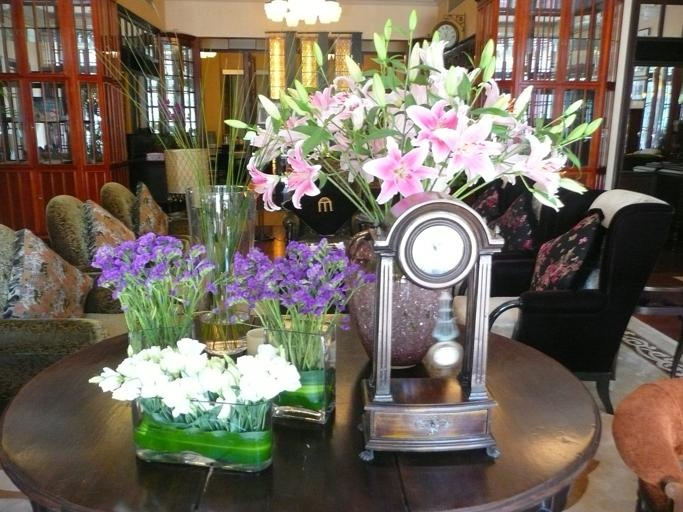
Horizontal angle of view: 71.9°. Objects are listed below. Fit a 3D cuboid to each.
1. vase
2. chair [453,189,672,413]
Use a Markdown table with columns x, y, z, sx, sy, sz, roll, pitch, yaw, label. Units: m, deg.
| x | y | z | sx | sy | sz | roll | pitch | yaw | label |
| --- | --- | --- | --- | --- | --- | --- | --- | --- | --- |
| -0.279 | 0.384 | 0.946 | 0.206 | 0.064 | 0.130 | 1 | 9 | -1 | vase |
| 1.152 | 0.091 | 2.621 | 1.034 | 1.187 | 0.920 | 2 | 20 | 8 | chair |
